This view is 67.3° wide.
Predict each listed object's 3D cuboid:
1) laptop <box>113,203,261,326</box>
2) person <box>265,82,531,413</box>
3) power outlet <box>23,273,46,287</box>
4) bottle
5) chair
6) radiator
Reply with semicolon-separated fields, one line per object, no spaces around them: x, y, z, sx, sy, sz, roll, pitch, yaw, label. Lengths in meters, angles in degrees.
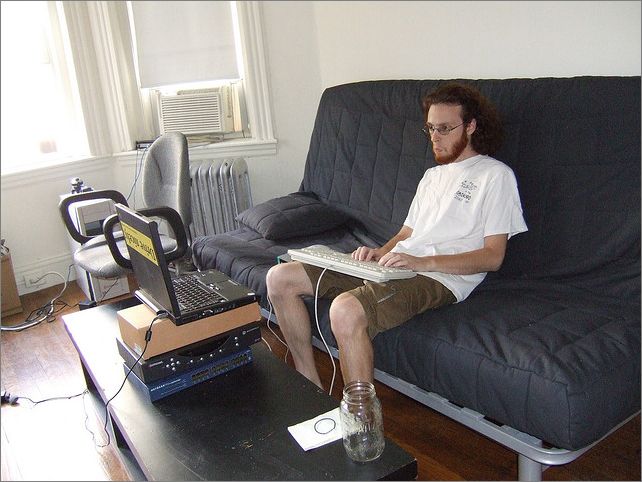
-0.516;0.044;1.852;0.510;0.380;0.444;11;19;43;laptop
0.360;0.016;2.189;1.083;1.496;0.718;-2;9;-26;person
-2.230;0.299;3.729;0.012;0.062;0.099;10;16;38;power outlet
0.116;0.501;1.341;0.109;0.197;0.117;-7;11;1;bottle
-1.117;-0.149;2.847;0.657;0.943;0.684;11;15;39;chair
-0.721;-0.163;3.130;0.690;0.840;0.151;10;22;32;radiator
